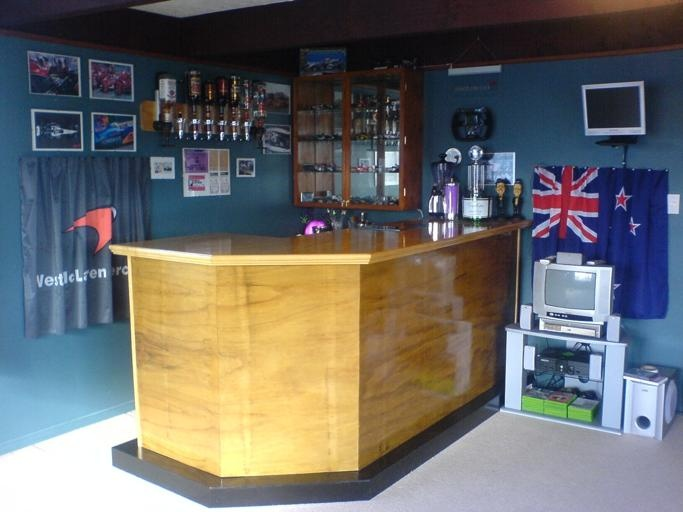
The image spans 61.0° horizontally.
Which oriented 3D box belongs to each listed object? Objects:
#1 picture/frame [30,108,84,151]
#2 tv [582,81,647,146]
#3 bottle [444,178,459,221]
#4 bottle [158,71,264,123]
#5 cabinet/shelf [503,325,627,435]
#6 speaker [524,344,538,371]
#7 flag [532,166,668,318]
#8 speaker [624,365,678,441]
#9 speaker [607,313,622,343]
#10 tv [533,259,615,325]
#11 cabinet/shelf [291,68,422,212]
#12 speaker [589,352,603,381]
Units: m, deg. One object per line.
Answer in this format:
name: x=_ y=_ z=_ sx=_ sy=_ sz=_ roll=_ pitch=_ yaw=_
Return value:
picture/frame: x=-2.134 y=-0.941 z=4.305 sx=0.026 sy=0.276 sz=0.359 roll=3 pitch=6 yaw=39
tv: x=2.195 y=-1.150 z=4.633 sx=0.520 sy=0.507 sz=0.184 roll=5 pitch=15 yaw=36
bottle: x=1.006 y=-0.501 z=5.325 sx=0.131 sy=0.329 sz=0.170 roll=1 pitch=12 yaw=7
bottle: x=-1.189 y=-1.396 z=5.117 sx=0.068 sy=0.329 sz=0.629 roll=11 pitch=15 yaw=43
cabinet/shelf: x=1.889 y=0.988 z=4.834 sx=0.965 sy=0.631 sz=0.560 roll=2 pitch=2 yaw=32
speaker: x=1.546 y=0.836 z=4.761 sx=0.100 sy=0.209 sz=0.066 roll=3 pitch=13 yaw=16
flag: x=2.175 y=-0.099 z=4.777 sx=1.314 sy=1.438 sz=0.123 roll=2 pitch=2 yaw=27
speaker: x=2.365 y=1.098 z=4.485 sx=0.377 sy=0.522 sz=0.562 roll=1 pitch=8 yaw=33
speaker: x=2.108 y=0.558 z=4.493 sx=0.098 sy=0.184 sz=0.126 roll=4 pitch=13 yaw=21
tv: x=1.904 y=0.232 z=4.809 sx=0.819 sy=0.606 sz=0.453 roll=5 pitch=8 yaw=36
cabinet/shelf: x=0.136 y=-1.138 z=5.944 sx=1.380 sy=1.306 sz=0.432 roll=7 pitch=12 yaw=30
speaker: x=2.004 y=0.867 z=4.572 sx=0.101 sy=0.214 sz=0.141 roll=5 pitch=13 yaw=23
